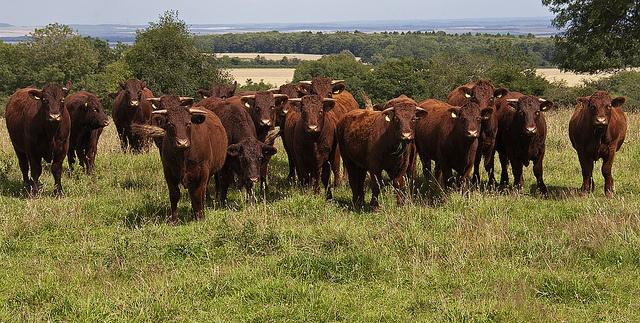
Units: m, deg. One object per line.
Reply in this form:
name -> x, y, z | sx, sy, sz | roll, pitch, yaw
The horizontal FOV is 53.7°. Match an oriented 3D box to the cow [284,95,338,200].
cow -> -0.474, -0.732, 27.924 | 2.653, 4.397, 2.490 | 1, 11, 21

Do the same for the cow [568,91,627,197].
cow -> 11.838, -0.798, 26.787 | 2.107, 4.285, 1.797 | 1, 11, 23

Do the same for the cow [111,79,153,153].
cow -> -9.302, -2.208, 31.299 | 1.770, 3.644, 2.463 | -7, 10, -20

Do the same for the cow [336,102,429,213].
cow -> 2.365, -0.201, 26.104 | 3.408, 4.380, 1.532 | 4, 13, 38

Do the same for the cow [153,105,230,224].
cow -> -4.987, 0.104, 25.179 | 2.425, 4.607, 1.286 | -10, 12, -34

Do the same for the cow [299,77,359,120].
cow -> 0.336, -3.050, 30.148 | 1.613, 1.763, 3.455 | -11, -8, 15

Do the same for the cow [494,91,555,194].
cow -> 8.831, -0.800, 27.314 | 1.510, 4.070, 2.420 | -10, 12, -33

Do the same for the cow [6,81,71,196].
cow -> -12.083, -1.119, 27.273 | 3.044, 4.403, 1.452 | 4, 13, 37

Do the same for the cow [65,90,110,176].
cow -> -10.773, -1.278, 28.853 | 1.673, 3.696, 2.170 | -13, 14, -43
